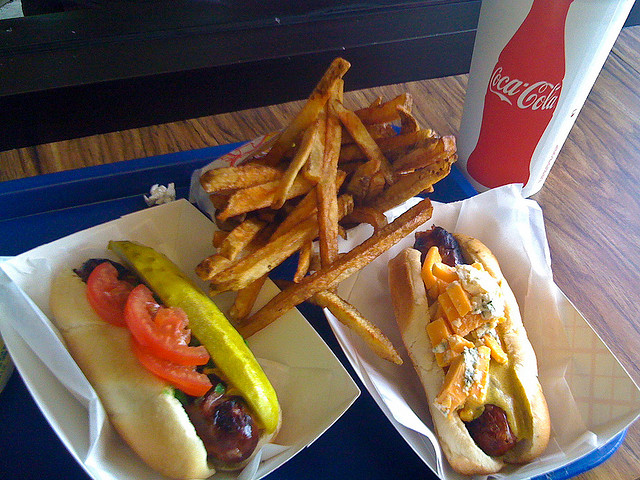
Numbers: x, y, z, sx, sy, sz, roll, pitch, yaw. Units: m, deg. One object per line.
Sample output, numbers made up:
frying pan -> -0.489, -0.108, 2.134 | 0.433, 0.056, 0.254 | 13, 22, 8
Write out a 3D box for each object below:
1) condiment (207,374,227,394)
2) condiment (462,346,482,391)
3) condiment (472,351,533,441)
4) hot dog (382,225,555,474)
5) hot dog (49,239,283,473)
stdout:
condiment -> -0.277, 0.378, 1.293 | 0.049, 0.013, 0.038 | 49, 34, 20
condiment -> 0.426, 0.358, 1.366 | 0.064, 0.034, 0.111 | 11, 67, -4
condiment -> 0.530, 0.446, 1.404 | 0.123, 0.103, 0.231 | -3, 48, -4
hot dog -> 0.457, 0.314, 1.584 | 0.420, 0.267, 0.717 | -14, 73, -2
hot dog -> -0.479, 0.354, 1.465 | 0.407, 0.257, 0.774 | -39, 71, -23
